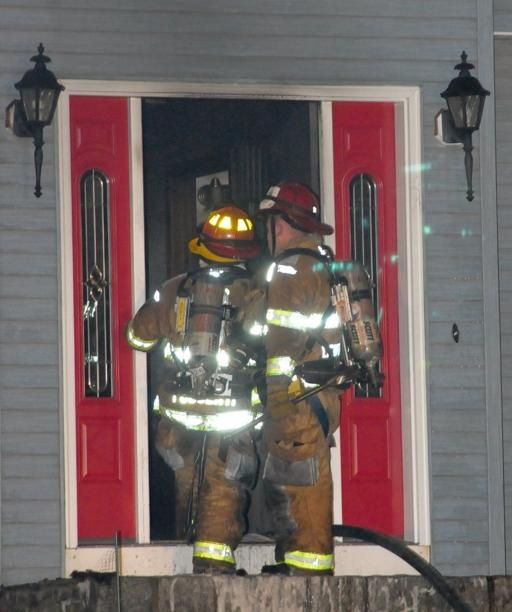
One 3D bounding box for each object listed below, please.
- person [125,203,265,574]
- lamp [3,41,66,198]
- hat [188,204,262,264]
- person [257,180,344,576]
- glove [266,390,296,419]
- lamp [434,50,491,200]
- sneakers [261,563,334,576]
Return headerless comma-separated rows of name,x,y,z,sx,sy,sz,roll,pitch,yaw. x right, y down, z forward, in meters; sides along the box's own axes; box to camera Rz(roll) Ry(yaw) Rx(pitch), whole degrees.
person,-0.302,0.534,15.220,0.833,2.315,0.611,-2,-4,14
lamp,-1.405,-1.182,15.626,0.368,0.967,0.322,0,-4,-7
hat,-0.164,-0.414,15.267,0.303,0.279,0.385,0,15,-9
person,0.289,0.446,14.975,0.480,2.449,0.479,-1,-4,-1
glove,0.168,0.594,14.792,0.154,0.171,0.287,4,7,2
lamp,1.355,-1.164,15.856,0.366,0.958,0.341,-1,-4,1
sneakers,0.231,1.663,15.037,0.186,0.083,0.335,6,-10,-31
